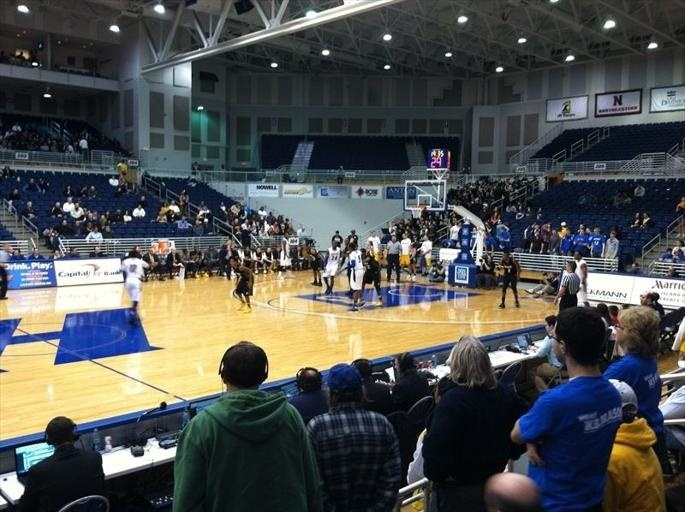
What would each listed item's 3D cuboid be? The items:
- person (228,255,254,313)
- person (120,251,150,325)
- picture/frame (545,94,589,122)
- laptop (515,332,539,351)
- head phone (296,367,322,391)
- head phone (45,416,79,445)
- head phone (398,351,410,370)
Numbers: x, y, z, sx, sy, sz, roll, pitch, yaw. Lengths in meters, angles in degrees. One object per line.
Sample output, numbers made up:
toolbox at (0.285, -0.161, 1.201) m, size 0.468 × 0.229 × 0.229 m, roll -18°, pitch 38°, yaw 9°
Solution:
person at (-2.624, 0.658, 15.176) m, size 0.510 × 1.382 × 2.095 m, roll -1°, pitch 4°, yaw -10°
person at (-4.925, 0.623, 13.773) m, size 0.552 × 1.668 × 2.205 m, roll -1°, pitch 4°, yaw -19°
picture/frame at (12.185, -8.074, 31.738) m, size 2.282 × 1.265 × 0.137 m, roll 4°, pitch 5°, yaw 42°
laptop at (2.793, 1.329, 8.867) m, size 0.310 × 0.211 × 0.219 m, roll -4°, pitch 10°, yaw -36°
head phone at (-0.301, 1.122, 5.329) m, size 0.162 × 0.217 × 0.226 m, roll 0°, pitch 13°, yaw -5°
head phone at (-2.348, 1.499, 4.876) m, size 0.236 × 0.259 × 0.282 m, roll 3°, pitch -30°, yaw -22°
head phone at (0.635, 1.094, 6.011) m, size 0.103 × 0.144 × 0.151 m, roll 3°, pitch 7°, yaw 11°
